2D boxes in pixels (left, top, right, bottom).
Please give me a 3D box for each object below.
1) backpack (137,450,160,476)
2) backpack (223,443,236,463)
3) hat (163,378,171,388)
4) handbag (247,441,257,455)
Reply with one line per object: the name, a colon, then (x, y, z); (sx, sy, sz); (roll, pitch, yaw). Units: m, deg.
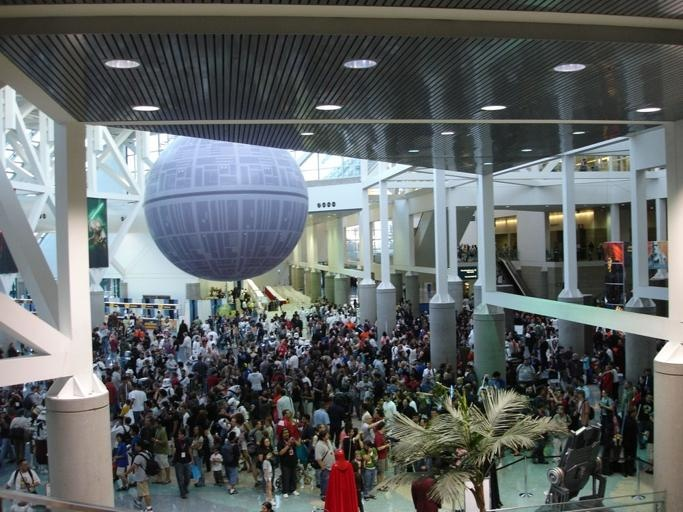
backpack: (-3.440, 3.716, 9.819); (0.255, 0.446, 0.435); (-8, -6, 9)
backpack: (-2.065, 3.742, 10.222); (0.266, 0.407, 0.098); (-5, -6, -15)
hat: (-4.297, 3.157, 13.550); (0.197, 0.187, 0.195); (-3, 0, 45)
handbag: (-1.745, 3.794, 10.683); (0.175, 0.221, 0.222); (9, -50, -15)
